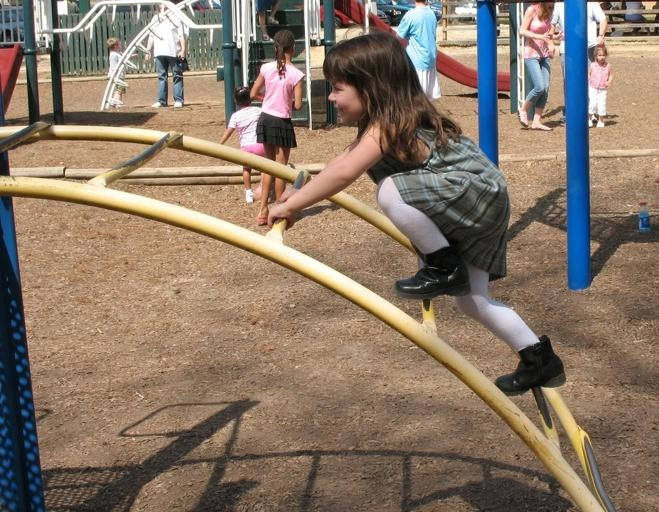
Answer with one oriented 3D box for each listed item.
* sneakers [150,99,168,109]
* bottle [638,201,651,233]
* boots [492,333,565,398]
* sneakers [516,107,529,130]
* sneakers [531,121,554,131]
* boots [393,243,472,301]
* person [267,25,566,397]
[{"bbox_3d":[-3.038,-2.618,11.366,0.352,0.107,0.162,3,16,24],"label":"sneakers"},{"bbox_3d":[2.422,-0.306,4.996,0.100,0.220,0.296,9,16,25],"label":"bottle"},{"bbox_3d":[0.625,0.364,2.123,0.277,0.138,0.088,-10,1,-15],"label":"boots"},{"bbox_3d":[2.553,-1.793,8.477,0.169,0.345,0.171,-1,9,-5],"label":"sneakers"},{"bbox_3d":[2.777,-1.657,8.398,0.358,0.109,0.107,7,33,11],"label":"sneakers"},{"bbox_3d":[0.288,0.054,1.979,0.273,0.135,0.093,-5,11,-22],"label":"boots"},{"bbox_3d":[0.293,-0.102,2.059,0.967,1.164,0.342,0,17,-4],"label":"person"}]
